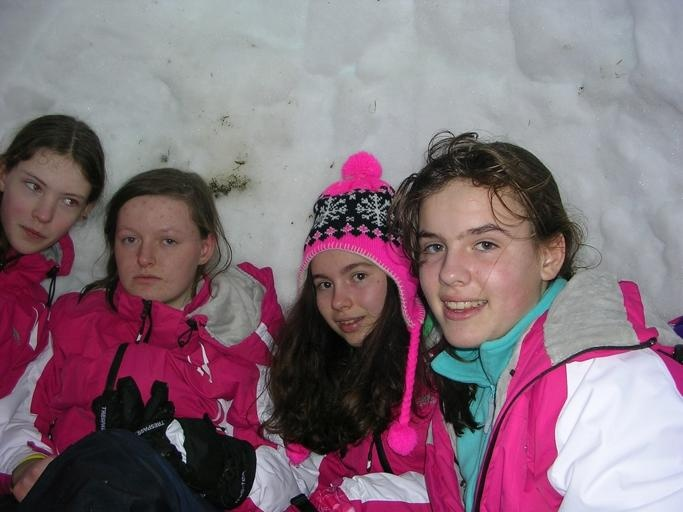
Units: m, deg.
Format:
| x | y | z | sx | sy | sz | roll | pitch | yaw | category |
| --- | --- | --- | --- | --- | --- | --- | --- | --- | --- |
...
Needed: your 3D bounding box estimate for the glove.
| x | y | z | sx | sy | sz | roll | pitch | yaw | category |
| --- | --- | --- | --- | --- | --- | --- | --- | --- | --- |
| -0.634 | 0.728 | 2.863 | 0.550 | 0.456 | 0.246 | 31 | -68 | -10 | glove |
